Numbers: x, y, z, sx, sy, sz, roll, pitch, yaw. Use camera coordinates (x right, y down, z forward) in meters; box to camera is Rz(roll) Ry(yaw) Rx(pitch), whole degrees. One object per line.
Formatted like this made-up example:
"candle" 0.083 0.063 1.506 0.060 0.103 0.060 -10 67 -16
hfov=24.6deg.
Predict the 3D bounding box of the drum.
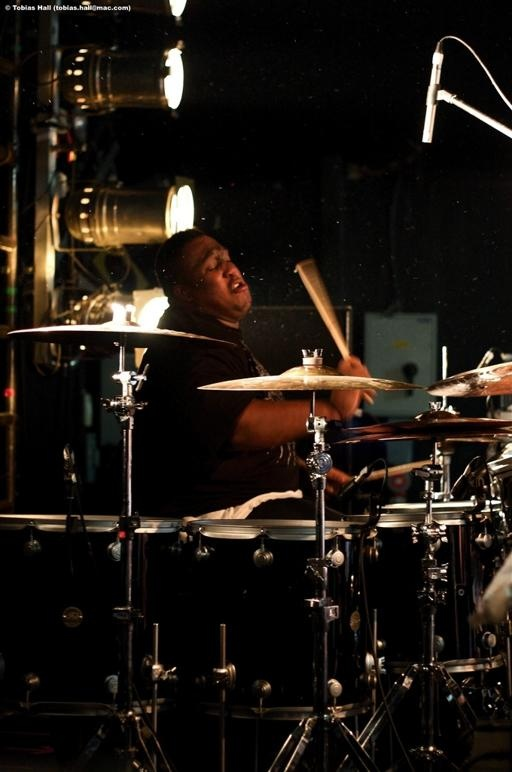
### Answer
"drum" 0.006 0.691 3.750 1.204 0.383 0.879 3 -5 -18
